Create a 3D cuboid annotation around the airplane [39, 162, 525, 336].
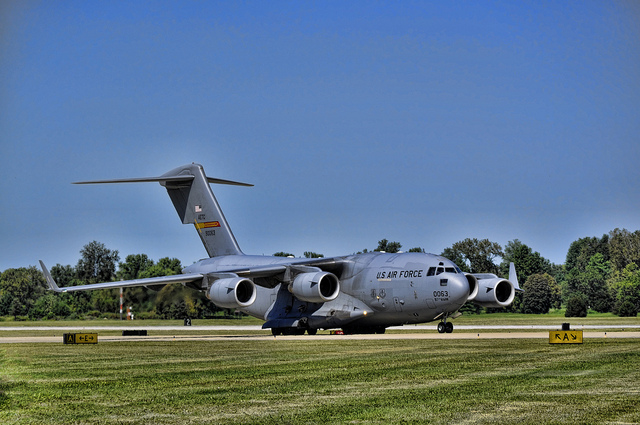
[{"bbox_3d":[-0.392,1.241,31.037,17.142,9.760,5.657,-5,-13,14],"label":"airplane"}]
